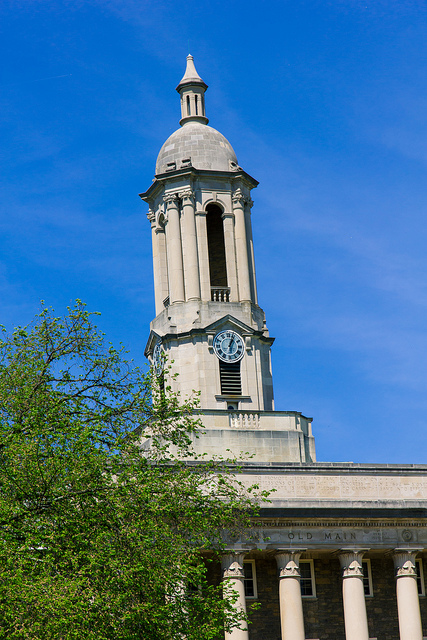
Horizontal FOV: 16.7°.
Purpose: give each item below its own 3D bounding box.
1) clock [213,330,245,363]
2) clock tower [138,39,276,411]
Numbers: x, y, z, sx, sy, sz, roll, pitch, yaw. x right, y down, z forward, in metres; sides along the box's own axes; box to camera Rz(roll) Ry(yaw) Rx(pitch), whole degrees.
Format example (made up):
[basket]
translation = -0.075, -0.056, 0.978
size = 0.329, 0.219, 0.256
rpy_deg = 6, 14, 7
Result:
[clock]
translation = 0.568, 1.154, 57.055
size = 1.260, 1.229, 0.132
rpy_deg = -3, 0, -10
[clock tower]
translation = -0.346, -3.684, 60.141
size = 4.753, 17.758, 3.771
rpy_deg = 1, -26, -3
